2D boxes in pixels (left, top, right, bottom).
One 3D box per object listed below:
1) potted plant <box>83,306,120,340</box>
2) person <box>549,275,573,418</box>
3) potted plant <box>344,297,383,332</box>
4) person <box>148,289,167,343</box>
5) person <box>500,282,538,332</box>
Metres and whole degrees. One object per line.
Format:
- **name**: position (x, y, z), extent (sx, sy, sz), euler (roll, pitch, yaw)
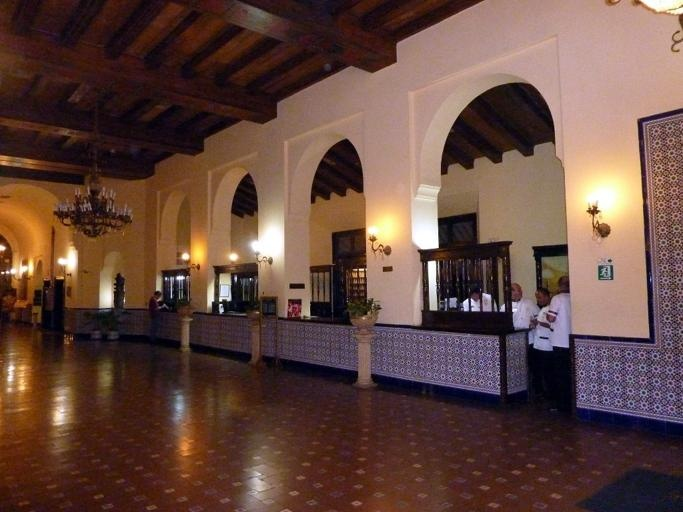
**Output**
- **potted plant**: position (-8.287, 2.411, 17.979), extent (0.994, 1.026, 1.303), euler (-2, 4, -44)
- **person**: position (3.348, 1.342, 7.990), extent (0.331, 1.326, 0.916), euler (-1, -1, 21)
- **potted plant**: position (0.401, 1.076, 9.704), extent (0.574, 0.620, 0.600), euler (5, -6, -19)
- **person**: position (-5.848, 1.926, 16.522), extent (0.440, 1.616, 0.814), euler (-1, -1, -20)
- **person**: position (3.089, 0.917, 9.068), extent (0.533, 1.198, 0.347), euler (-8, -29, 12)
